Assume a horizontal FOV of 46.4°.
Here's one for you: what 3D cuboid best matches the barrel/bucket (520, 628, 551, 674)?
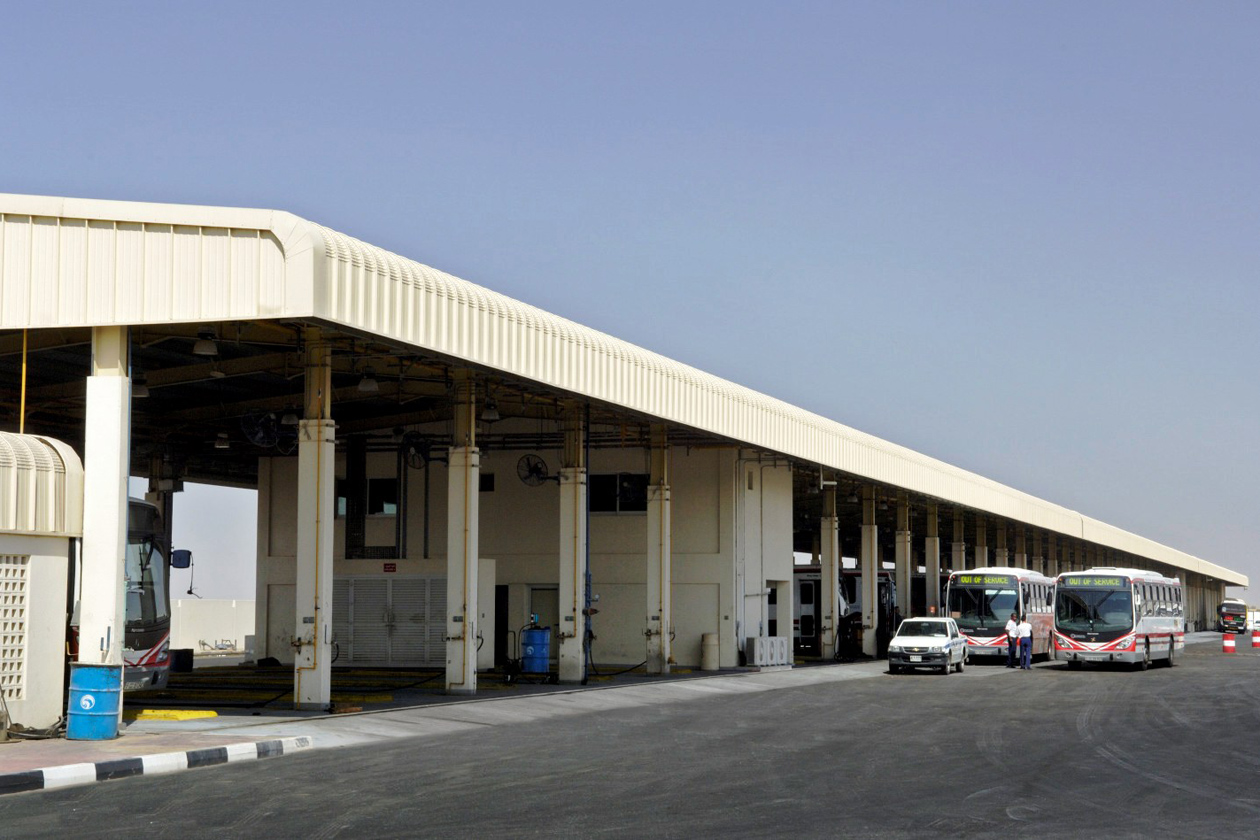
[{"bbox_3d":[-2.500,6.533,42.346,1.098,1.579,1.110,0,-2,0],"label":"barrel/bucket"}]

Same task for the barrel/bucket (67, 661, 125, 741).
[{"bbox_3d":[-9.667,5.035,26.707,0.905,1.379,0.626,3,-10,-25],"label":"barrel/bucket"}]

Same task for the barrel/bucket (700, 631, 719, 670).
[{"bbox_3d":[2.588,7.416,47.750,0.601,1.480,0.948,4,-7,-28],"label":"barrel/bucket"}]

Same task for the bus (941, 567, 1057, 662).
[{"bbox_3d":[14.946,7.678,58.842,2.398,2.803,6.710,-3,-12,21],"label":"bus"}]
